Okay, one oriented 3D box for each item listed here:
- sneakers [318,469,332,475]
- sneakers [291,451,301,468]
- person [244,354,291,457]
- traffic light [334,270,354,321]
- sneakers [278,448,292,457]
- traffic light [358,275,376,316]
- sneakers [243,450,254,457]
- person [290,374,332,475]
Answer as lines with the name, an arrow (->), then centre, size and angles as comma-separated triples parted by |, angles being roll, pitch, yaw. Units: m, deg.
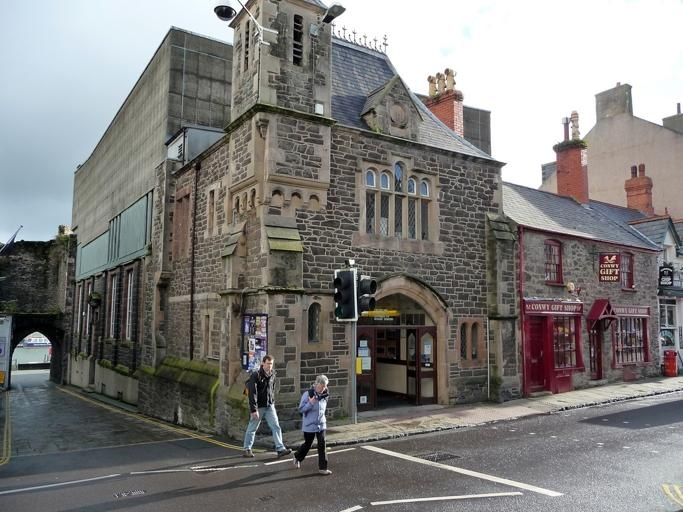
sneakers -> -0.409, 5.859, 18.098 | 0.242, 0.123, 0.151 | 0, -1, 3
sneakers -> -1.223, 5.603, 18.467 | 0.190, 0.527, 0.158 | -10, -3, 31
person -> -2.232, 4.387, 19.322 | 1.221, 2.987, 0.800 | -2, 4, -10
traffic light -> 0.143, 1.174, 20.477 | 0.714, 1.547, 0.361 | 0, 4, 19
sneakers -> -1.625, 5.683, 19.223 | 0.175, 0.247, 0.525 | 8, -34, -45
traffic light -> 0.849, 1.175, 20.504 | 0.577, 1.209, 0.750 | 0, 4, 16
sneakers -> -2.696, 5.792, 19.530 | 0.360, 0.185, 0.135 | 1, 0, 5
person -> -0.698, 4.577, 18.302 | 1.020, 2.650, 0.789 | 1, 5, 31
